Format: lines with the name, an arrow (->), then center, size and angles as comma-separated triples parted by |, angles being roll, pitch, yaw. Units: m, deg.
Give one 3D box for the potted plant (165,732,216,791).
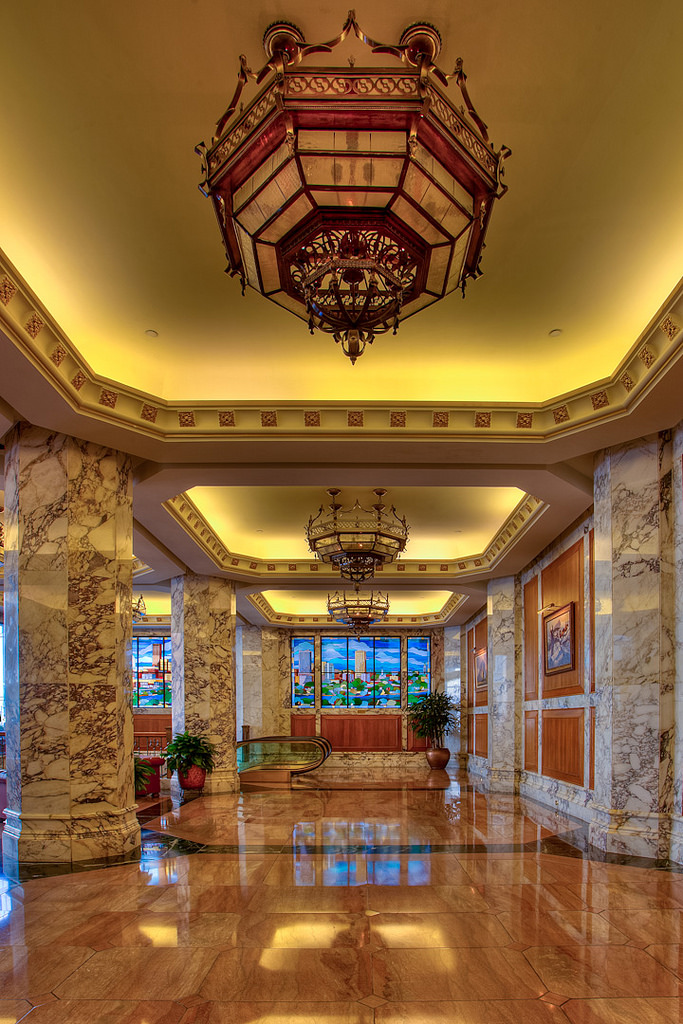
potted plant -> -2.659, 5.027, 13.492 | 1.000, 1.301, 1.110 | 0, -11, 2
